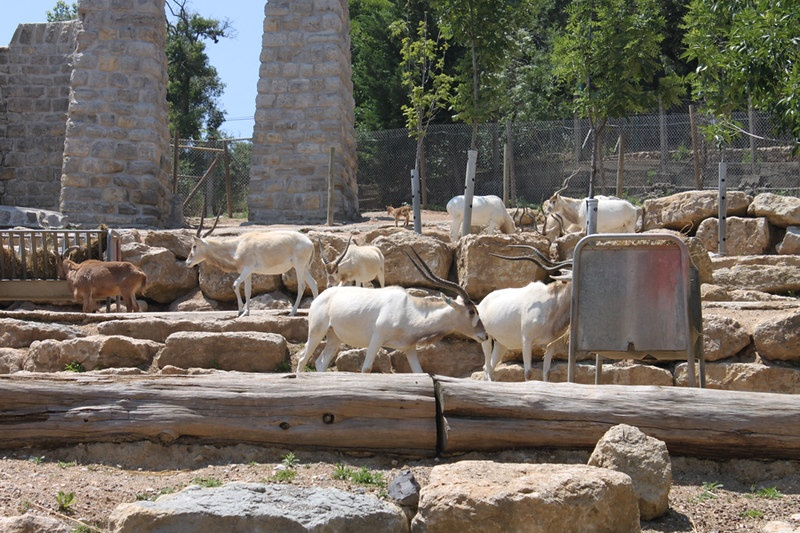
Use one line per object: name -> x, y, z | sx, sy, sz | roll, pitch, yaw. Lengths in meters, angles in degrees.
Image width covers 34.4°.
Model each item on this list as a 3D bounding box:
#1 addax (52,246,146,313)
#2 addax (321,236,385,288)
addax -> -5.924, 0.252, 25.744 | 2.587, 1.738, 0.973 | -1, -3, 13
addax -> -0.821, 0.012, 24.621 | 0.672, 1.221, 1.771 | 6, 8, 32
